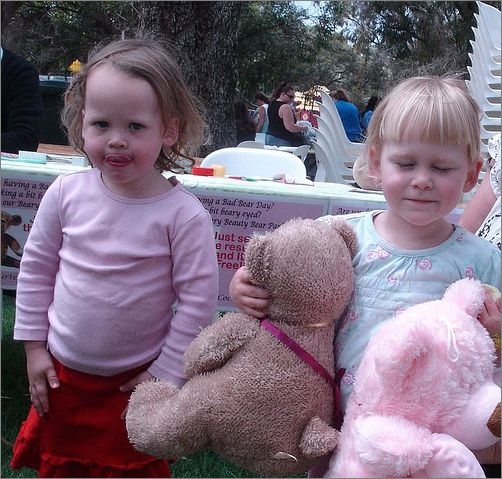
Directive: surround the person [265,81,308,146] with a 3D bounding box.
[{"bbox_3d":[0.623,-1.883,7.414,0.725,0.943,0.694,-7,23,-14],"label":"person"}]
